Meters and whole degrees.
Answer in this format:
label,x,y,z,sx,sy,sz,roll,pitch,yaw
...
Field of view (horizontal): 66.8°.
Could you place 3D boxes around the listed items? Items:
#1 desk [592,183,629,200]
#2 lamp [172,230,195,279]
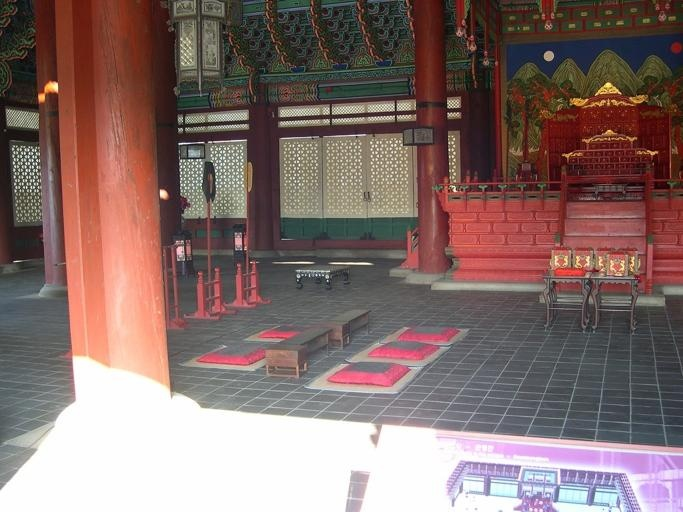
label,x,y,z,sx,sy,sz,roll,pitch,yaw
desk,5.362,-1.298,10.275,0.622,0.318,1.960,2,7,27
lamp,-3.369,-0.036,10.904,0.355,0.939,0.840,-1,5,-3
